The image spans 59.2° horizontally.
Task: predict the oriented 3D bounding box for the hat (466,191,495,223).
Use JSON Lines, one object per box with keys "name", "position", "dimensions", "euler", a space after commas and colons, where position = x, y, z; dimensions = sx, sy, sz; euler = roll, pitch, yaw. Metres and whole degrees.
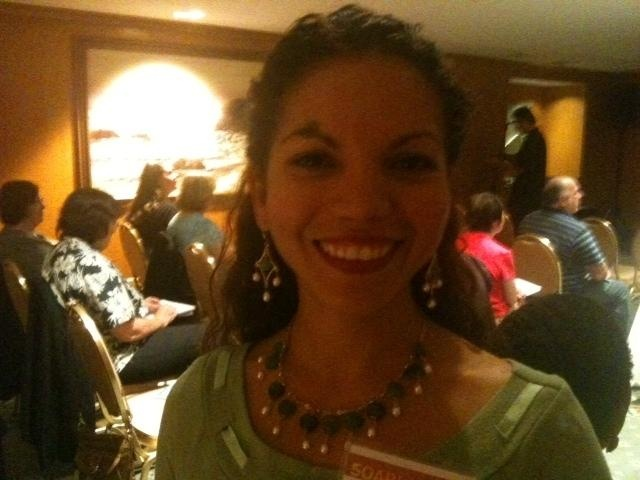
{"name": "hat", "position": [0.230, -0.049, 0.800], "dimensions": [0.039, 0.045, 0.047], "euler": [4, 19, 9]}
